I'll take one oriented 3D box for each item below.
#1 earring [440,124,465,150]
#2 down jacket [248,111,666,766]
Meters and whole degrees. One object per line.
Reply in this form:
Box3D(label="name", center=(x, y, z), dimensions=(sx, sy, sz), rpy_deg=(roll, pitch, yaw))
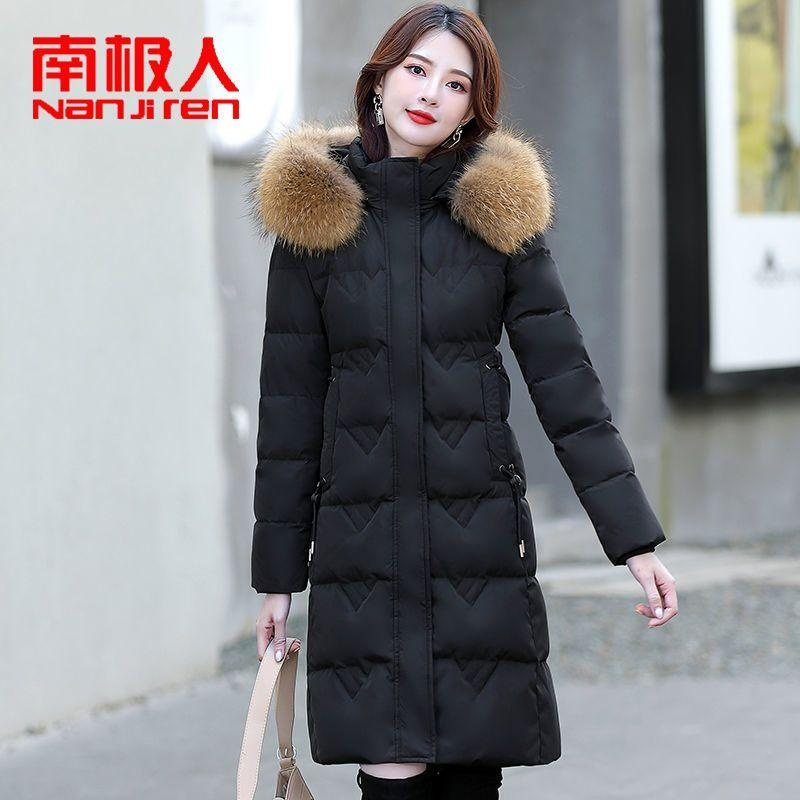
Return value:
Box3D(label="earring", center=(0.138, -0.660, 3.493), dimensions=(0.066, 0.024, 0.048), rpy_deg=(-51, 17, -25))
Box3D(label="down jacket", center=(0.039, 0.122, 3.453), dimensions=(0.765, 1.377, 1.117), rpy_deg=(-10, 34, -34))
